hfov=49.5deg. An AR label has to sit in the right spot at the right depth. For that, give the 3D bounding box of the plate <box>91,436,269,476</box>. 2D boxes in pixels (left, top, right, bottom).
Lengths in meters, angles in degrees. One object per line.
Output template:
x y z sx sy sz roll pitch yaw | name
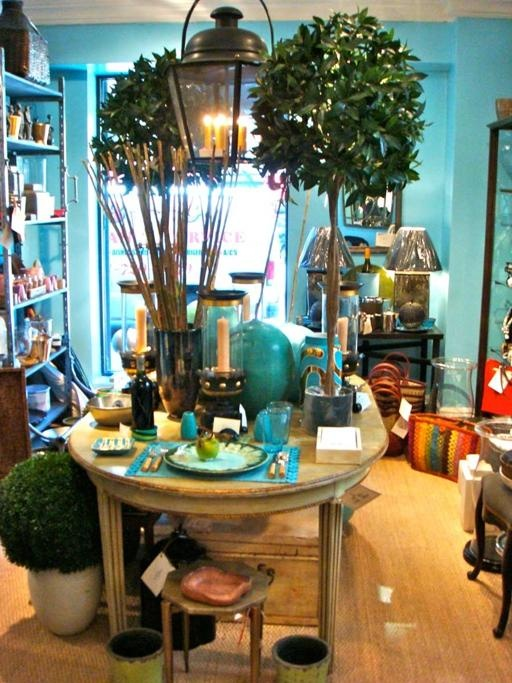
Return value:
-0.159 0.309 1.538 0.383 0.057 0.279 1 5 9 | plate

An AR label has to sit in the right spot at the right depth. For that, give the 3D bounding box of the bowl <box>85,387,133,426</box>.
-0.506 0.212 1.883 0.129 0.053 0.126 1 15 0 | bowl

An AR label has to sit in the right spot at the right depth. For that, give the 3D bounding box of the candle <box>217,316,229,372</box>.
-0.098 0.012 1.625 0.034 0.156 0.085 0 6 -5 | candle

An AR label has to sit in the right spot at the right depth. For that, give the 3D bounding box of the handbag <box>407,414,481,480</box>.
1.220 0.682 3.567 0.411 0.334 0.230 7 0 42 | handbag

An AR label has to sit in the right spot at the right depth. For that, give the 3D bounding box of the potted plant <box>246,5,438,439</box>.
0.213 -0.287 1.485 0.442 1.183 0.508 -1 6 -13 | potted plant

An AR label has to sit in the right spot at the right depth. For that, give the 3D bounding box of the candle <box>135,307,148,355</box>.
-0.406 -0.041 1.937 0.032 0.158 0.095 -2 6 -16 | candle

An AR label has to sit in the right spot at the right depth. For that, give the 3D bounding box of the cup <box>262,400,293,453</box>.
0.035 0.249 1.627 0.089 0.124 0.131 1 1 -3 | cup

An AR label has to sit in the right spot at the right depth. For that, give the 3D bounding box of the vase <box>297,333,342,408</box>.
0.227 0.113 1.963 0.150 0.232 0.152 3 -7 -7 | vase
